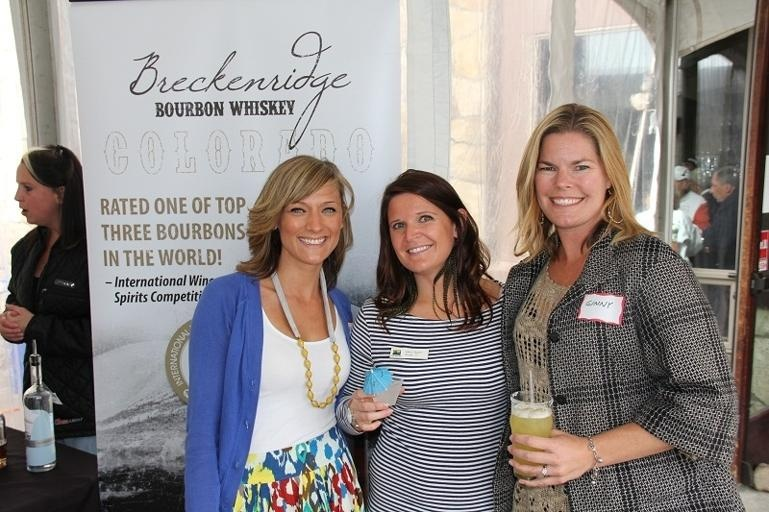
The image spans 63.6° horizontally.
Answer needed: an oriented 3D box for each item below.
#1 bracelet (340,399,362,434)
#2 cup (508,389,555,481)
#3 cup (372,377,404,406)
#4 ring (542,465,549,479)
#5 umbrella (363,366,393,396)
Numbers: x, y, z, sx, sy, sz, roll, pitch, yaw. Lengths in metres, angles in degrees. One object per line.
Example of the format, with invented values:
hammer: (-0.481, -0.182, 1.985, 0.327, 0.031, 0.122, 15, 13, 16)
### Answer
bracelet: (-0.201, 0.856, 3.351, 0.068, 0.174, 0.126, -8, 21, 17)
cup: (0.707, 0.787, 2.945, 0.197, 0.316, 0.289, -1, 1, 28)
cup: (0.030, 0.688, 3.221, 0.119, 0.141, 0.166, 10, 19, 6)
ring: (0.733, 0.970, 2.827, 0.030, 0.060, 0.031, -2, 2, 0)
umbrella: (-0.036, 0.634, 3.149, 0.130, 0.134, 0.093, -1, 2, 32)
